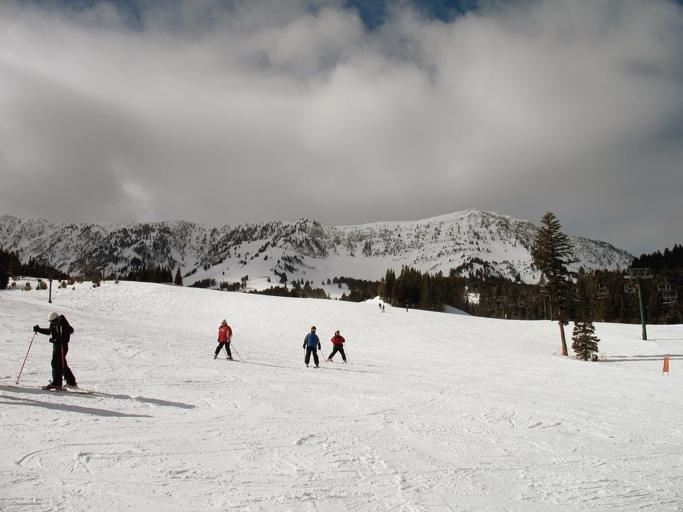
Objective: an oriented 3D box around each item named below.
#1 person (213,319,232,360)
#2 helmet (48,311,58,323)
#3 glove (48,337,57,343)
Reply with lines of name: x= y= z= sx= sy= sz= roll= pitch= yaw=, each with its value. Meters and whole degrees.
person: x=-6.042 y=4.277 z=32.026 sx=0.804 sy=2.040 sz=0.611 roll=3 pitch=15 yaw=-4
helmet: x=-10.393 y=2.204 z=22.496 sx=0.290 sy=0.430 sz=0.396 roll=17 pitch=0 yaw=-26
glove: x=-10.256 y=2.976 z=22.346 sx=0.181 sy=0.254 sz=0.790 roll=1 pitch=-2 yaw=-30
